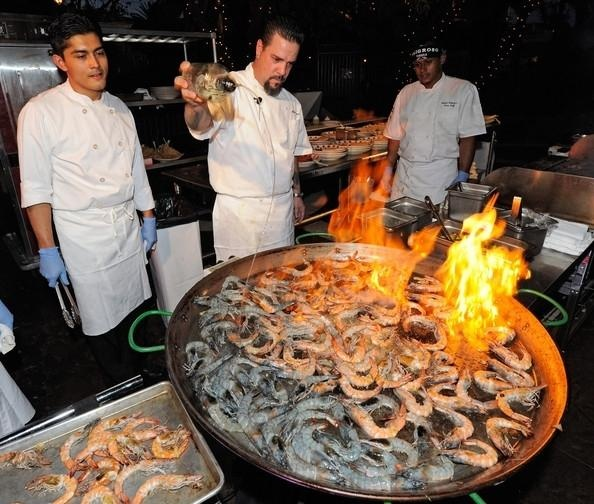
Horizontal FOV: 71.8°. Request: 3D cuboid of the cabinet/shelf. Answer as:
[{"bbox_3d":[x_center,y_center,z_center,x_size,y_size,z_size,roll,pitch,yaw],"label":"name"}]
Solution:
[{"bbox_3d":[-2.225,-2.149,6.313,1.689,2.080,0.700,-12,27,-39],"label":"cabinet/shelf"}]
